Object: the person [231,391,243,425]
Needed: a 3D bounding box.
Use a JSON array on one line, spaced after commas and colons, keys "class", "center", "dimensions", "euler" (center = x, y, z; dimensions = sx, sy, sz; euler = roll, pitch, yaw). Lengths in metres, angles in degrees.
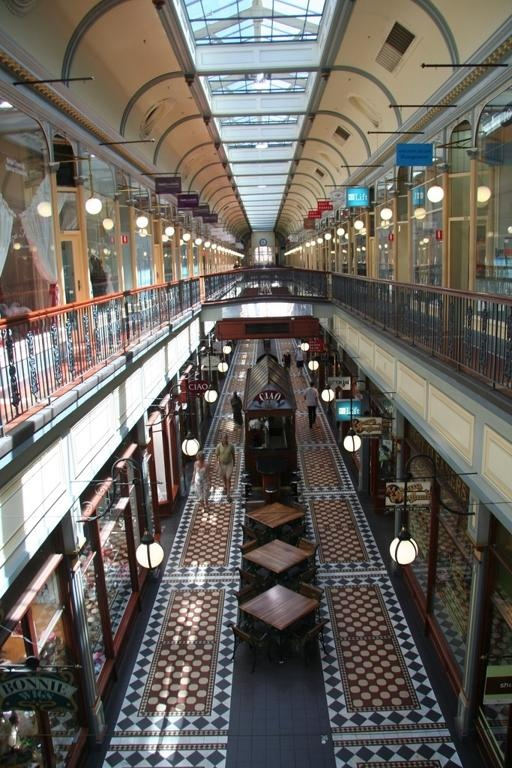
[{"class": "person", "center": [-0.672, 0.918, 16.622], "dimensions": [0.390, 1.179, 0.895], "euler": [-4, 6, -3]}]
